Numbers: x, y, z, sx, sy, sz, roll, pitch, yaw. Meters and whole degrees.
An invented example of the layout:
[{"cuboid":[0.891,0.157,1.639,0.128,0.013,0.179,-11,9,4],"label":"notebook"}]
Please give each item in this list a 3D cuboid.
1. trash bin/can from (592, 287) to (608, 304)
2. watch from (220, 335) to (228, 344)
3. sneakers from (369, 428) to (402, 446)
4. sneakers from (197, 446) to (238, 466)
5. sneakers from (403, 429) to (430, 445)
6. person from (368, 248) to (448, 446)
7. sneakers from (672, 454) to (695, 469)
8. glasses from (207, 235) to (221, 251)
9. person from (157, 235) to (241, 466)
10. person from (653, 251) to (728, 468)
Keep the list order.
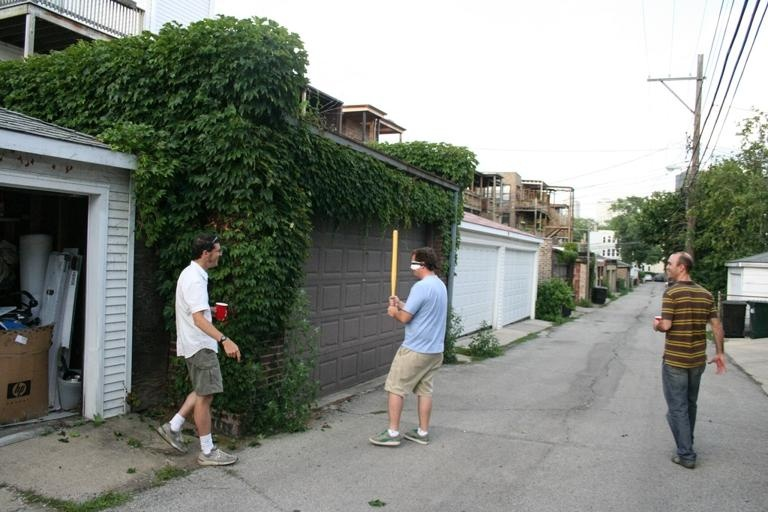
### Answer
[{"cuboid":[12.376,2.225,33.517,0.931,0.832,0.918,0,-3,-1],"label":"trash bin/can"},{"cuboid":[-2.031,1.039,7.378,0.105,0.067,0.096,-34,-21,-15],"label":"watch"},{"cuboid":[0.039,2.597,8.427,0.483,0.218,0.201,3,-7,7],"label":"sneakers"},{"cuboid":[-2.174,2.622,7.709,0.515,0.224,0.203,1,-2,-4],"label":"sneakers"},{"cuboid":[0.478,2.600,8.454,0.402,0.169,0.158,9,0,35],"label":"sneakers"},{"cuboid":[0.405,1.284,8.458,0.989,2.815,0.507,1,6,-11],"label":"person"},{"cuboid":[4.096,2.795,8.008,0.118,0.100,0.232,-3,12,-38],"label":"sneakers"},{"cuboid":[-2.244,-0.178,7.610,0.202,0.190,0.156,-13,13,-12],"label":"glasses"},{"cuboid":[-2.358,1.209,7.625,0.984,2.962,0.504,4,6,22],"label":"person"},{"cuboid":[4.303,1.385,8.263,0.859,2.876,1.018,5,6,31],"label":"person"}]
